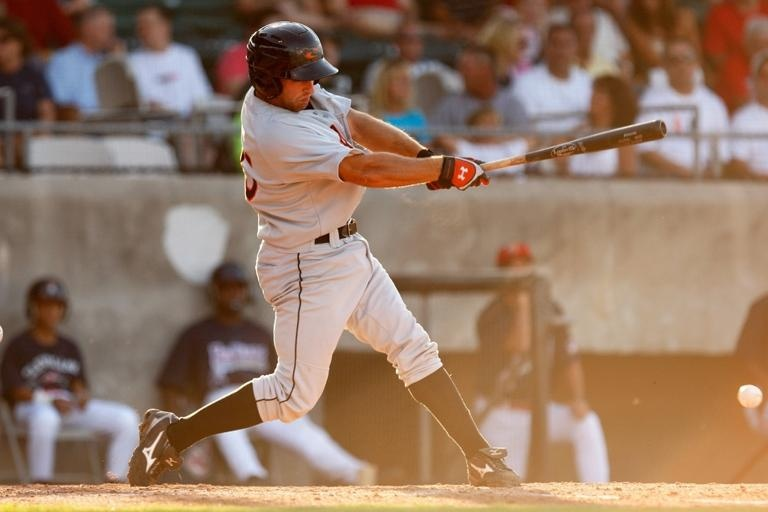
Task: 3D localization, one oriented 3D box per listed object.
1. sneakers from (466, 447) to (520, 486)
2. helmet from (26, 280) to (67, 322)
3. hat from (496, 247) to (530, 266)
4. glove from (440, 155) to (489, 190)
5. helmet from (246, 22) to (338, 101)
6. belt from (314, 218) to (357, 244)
[{"bbox_3d":[0.680,1.348,9.825,0.323,0.196,0.214,-2,-2,23],"label":"sneakers"},{"bbox_3d":[-2.508,0.313,11.522,0.302,0.292,0.149,0,7,-11],"label":"helmet"},{"bbox_3d":[0.968,0.006,11.417,0.173,0.158,0.171,-18,4,-1],"label":"hat"},{"bbox_3d":[0.511,-0.516,9.629,0.373,0.203,0.182,-5,10,-44],"label":"glove"},{"bbox_3d":[-0.575,-1.243,9.723,0.631,0.436,0.437,5,22,14],"label":"helmet"},{"bbox_3d":[-0.298,-0.135,9.673,0.204,0.066,0.162,-23,2,12],"label":"belt"}]
